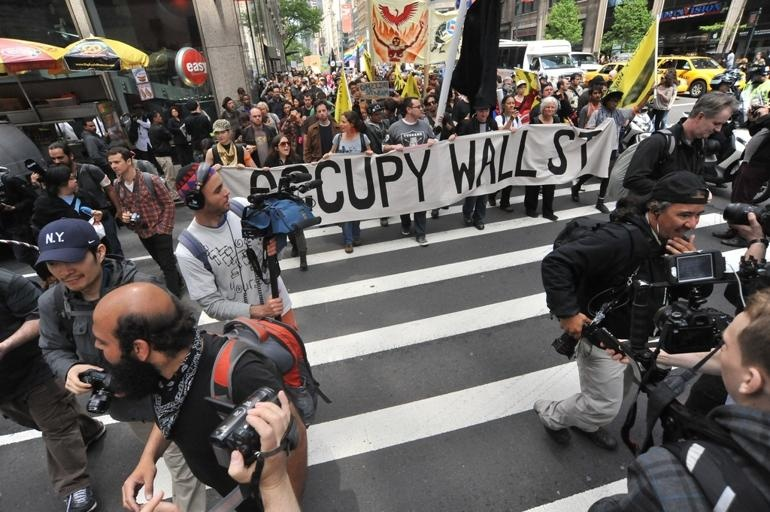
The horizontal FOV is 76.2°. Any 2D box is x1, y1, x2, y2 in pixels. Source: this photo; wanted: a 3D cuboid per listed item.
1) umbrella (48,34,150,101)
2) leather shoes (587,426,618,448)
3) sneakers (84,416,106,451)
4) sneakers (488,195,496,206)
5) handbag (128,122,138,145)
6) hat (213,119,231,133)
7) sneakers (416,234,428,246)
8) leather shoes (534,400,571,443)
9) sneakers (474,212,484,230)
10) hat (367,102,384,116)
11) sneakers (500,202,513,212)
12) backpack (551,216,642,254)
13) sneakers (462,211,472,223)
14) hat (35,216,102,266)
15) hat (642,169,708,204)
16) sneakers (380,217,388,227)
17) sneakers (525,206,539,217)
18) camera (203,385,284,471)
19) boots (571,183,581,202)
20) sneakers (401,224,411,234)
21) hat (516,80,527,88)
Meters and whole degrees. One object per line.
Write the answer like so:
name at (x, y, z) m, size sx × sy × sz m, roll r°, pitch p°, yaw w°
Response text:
umbrella at (-6.956, -4.440, 12.121) m, size 1.702 × 0.650 × 1.616 m, roll 3°, pitch 42°, yaw 0°
leather shoes at (2.299, 1.928, 5.239) m, size 0.147 × 0.122 × 0.316 m, roll -41°, pitch 34°, yaw -26°
sneakers at (-3.257, 1.994, 5.530) m, size 0.130 × 0.159 × 0.348 m, roll 4°, pitch 26°, yaw -3°
sneakers at (2.320, -1.167, 10.552) m, size 0.179 × 0.286 × 0.294 m, roll -1°, pitch 4°, yaw -1°
handbag at (-6.433, -3.120, 12.607) m, size 0.271 × 0.493 × 0.364 m, roll -10°, pitch 15°, yaw -21°
hat at (-2.816, -2.246, 8.578) m, size 0.242 × 0.231 × 0.302 m, roll 6°, pitch 34°, yaw 19°
sneakers at (0.697, -0.273, 8.861) m, size 0.117 × 0.122 × 0.276 m, roll -5°, pitch 19°, yaw -9°
leather shoes at (1.824, 1.792, 5.321) m, size 0.275 × 0.181 × 0.446 m, roll -34°, pitch 64°, yaw 10°
sneakers at (1.809, -0.637, 9.316) m, size 0.127 × 0.137 × 0.326 m, roll -9°, pitch 35°, yaw -1°
hat at (-0.158, -2.767, 9.372) m, size 0.268 × 0.159 × 0.299 m, roll -8°, pitch 19°, yaw 20°
sneakers at (2.548, -0.974, 10.026) m, size 0.113 × 0.137 × 0.331 m, roll -27°, pitch 31°, yaw -36°
backpack at (1.920, -0.140, 4.756) m, size 0.343 × 0.176 × 0.459 m, roll -27°, pitch 0°, yaw -39°
sneakers at (1.629, -0.730, 9.575) m, size 0.097 × 0.229 × 0.099 m, roll -10°, pitch -8°, yaw 6°
hat at (-2.789, -0.128, 4.310) m, size 0.470 × 0.305 × 0.370 m, roll -16°, pitch 29°, yaw -25°
hat at (2.587, -0.623, 4.398) m, size 0.296 × 0.184 × 0.398 m, roll -10°, pitch 15°, yaw -20°
sneakers at (-0.002, -0.647, 9.817) m, size 0.144 × 0.158 × 0.164 m, roll -3°, pitch 71°, yaw 5°
sneakers at (2.897, -0.881, 9.784) m, size 0.118 × 0.217 × 0.345 m, roll -26°, pitch 36°, yaw -28°
camera at (-0.937, 1.132, 3.266) m, size 0.485 × 0.198 × 0.463 m, roll 25°, pitch 59°, yaw -4°
boots at (4.053, -1.293, 10.348) m, size 0.148 × 0.413 × 0.304 m, roll -3°, pitch 3°, yaw -5°
sneakers at (0.418, -0.503, 9.364) m, size 0.179 × 0.148 × 0.307 m, roll -2°, pitch 26°, yaw 2°
hat at (3.710, -4.618, 13.328) m, size 0.333 × 0.145 × 0.441 m, roll -5°, pitch 16°, yaw 5°
